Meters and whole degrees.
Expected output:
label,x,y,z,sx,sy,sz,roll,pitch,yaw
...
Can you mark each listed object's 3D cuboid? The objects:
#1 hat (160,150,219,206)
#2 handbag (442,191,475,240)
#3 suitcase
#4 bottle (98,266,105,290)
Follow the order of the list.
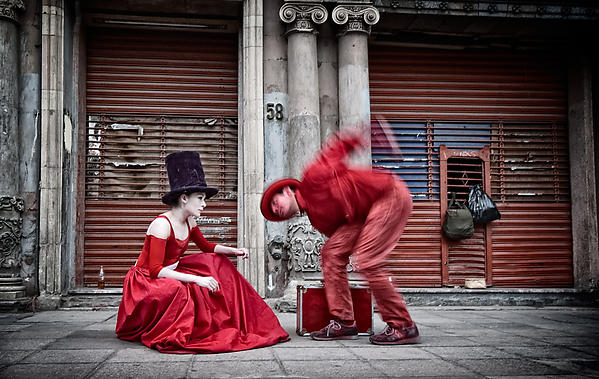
label,x,y,z,sx,sy,sz,roll,pitch,yaw
hat,-1.741,-0.197,10.713,0.990,0.653,0.934,-8,2,28
handbag,3.060,0.699,13.847,0.594,0.640,0.257,2,10,9
suitcase,0.412,1.902,11.100,1.304,0.745,0.696,5,-12,-26
bottle,-3.673,1.644,13.185,0.132,0.378,0.300,-2,10,-15
